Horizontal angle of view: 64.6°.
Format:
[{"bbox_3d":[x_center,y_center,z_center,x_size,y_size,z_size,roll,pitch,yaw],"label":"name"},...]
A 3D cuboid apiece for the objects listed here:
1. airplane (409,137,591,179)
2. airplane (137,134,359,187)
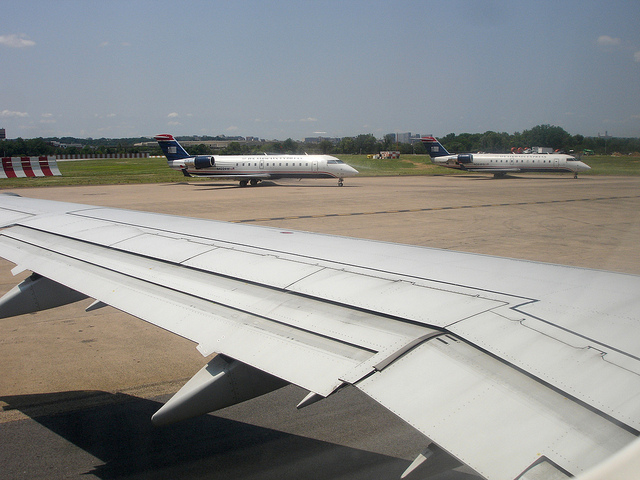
[{"bbox_3d":[18.407,-8.344,51.993,16.692,4.033,13.755,4,8,21],"label":"airplane"},{"bbox_3d":[-5.244,-6.326,41.270,15.369,3.891,3.306,1,13,3],"label":"airplane"}]
